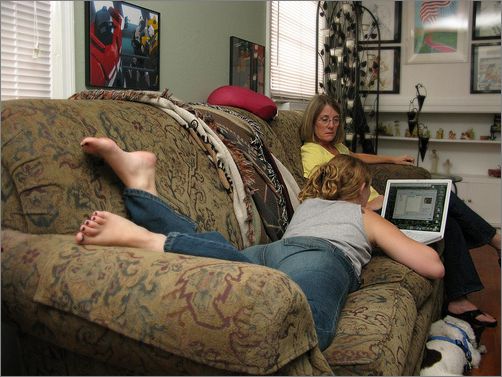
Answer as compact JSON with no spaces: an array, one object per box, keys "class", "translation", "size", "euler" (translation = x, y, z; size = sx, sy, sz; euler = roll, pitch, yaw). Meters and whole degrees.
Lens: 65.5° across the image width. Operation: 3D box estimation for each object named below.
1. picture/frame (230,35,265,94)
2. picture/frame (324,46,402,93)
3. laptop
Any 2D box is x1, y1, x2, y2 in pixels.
[{"class":"picture/frame","translation":[-0.032,-1.147,3.611],"size":[0.129,0.451,0.558],"euler":[8,13,25]},{"class":"picture/frame","translation":[1.375,-1.520,4.967],"size":[0.862,0.698,0.024],"euler":[2,-14,10]},{"class":"laptop","translation":[0.787,0.082,2.045],"size":[0.393,0.305,0.441],"euler":[6,-3,-22]}]
